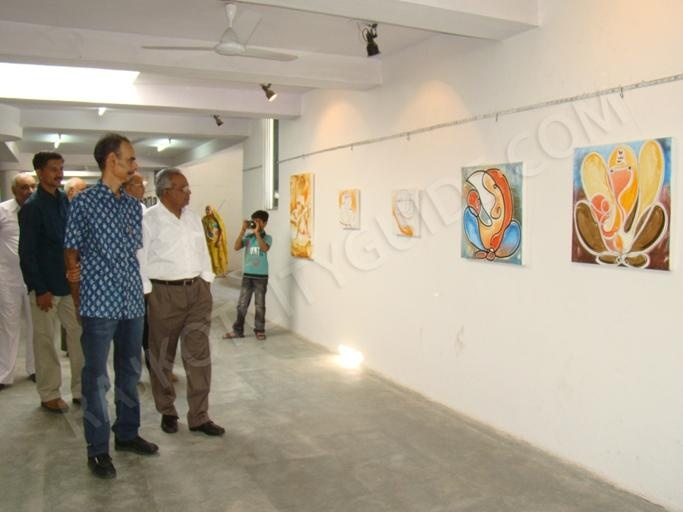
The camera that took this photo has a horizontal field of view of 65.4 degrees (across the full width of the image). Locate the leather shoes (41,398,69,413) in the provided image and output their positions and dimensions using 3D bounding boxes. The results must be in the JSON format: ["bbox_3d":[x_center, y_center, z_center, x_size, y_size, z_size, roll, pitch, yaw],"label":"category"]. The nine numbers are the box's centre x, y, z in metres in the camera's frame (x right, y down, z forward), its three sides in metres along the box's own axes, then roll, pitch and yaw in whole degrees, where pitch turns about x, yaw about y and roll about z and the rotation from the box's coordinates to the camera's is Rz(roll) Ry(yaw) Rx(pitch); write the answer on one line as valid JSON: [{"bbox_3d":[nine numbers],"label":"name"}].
[{"bbox_3d":[-2.383,1.249,4.437,0.194,0.087,0.107,3,4,29],"label":"leather shoes"}]

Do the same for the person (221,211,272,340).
[{"bbox_3d":[-1.247,0.260,7.203,0.529,1.718,0.559,0,4,-9],"label":"person"}]

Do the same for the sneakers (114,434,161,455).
[{"bbox_3d":[-1.441,1.332,3.822,0.339,0.161,0.122,6,-1,3],"label":"sneakers"}]

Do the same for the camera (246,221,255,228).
[{"bbox_3d":[-1.190,-0.404,7.046,0.099,0.119,0.121,2,5,7],"label":"camera"}]

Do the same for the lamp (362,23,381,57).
[{"bbox_3d":[0.262,-1.941,4.891,0.156,0.269,0.451,1,5,2],"label":"lamp"}]

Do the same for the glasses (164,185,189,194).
[{"bbox_3d":[-1.178,-0.487,3.944,0.090,0.051,0.187,3,6,23],"label":"glasses"}]

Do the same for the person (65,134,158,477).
[{"bbox_3d":[-1.513,0.320,3.487,0.363,2.202,0.564,4,5,34],"label":"person"}]

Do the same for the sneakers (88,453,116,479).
[{"bbox_3d":[-1.536,1.367,3.435,0.094,0.101,0.216,3,-3,-32],"label":"sneakers"}]

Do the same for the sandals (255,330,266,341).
[{"bbox_3d":[-1.087,1.078,7.087,0.078,0.101,0.234,0,-6,-10],"label":"sandals"}]

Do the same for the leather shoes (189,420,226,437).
[{"bbox_3d":[-1.033,1.314,4.101,0.257,0.127,0.115,3,2,8],"label":"leather shoes"}]

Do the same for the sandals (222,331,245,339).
[{"bbox_3d":[-1.440,1.076,7.074,0.228,0.103,0.086,8,-4,-29],"label":"sandals"}]
